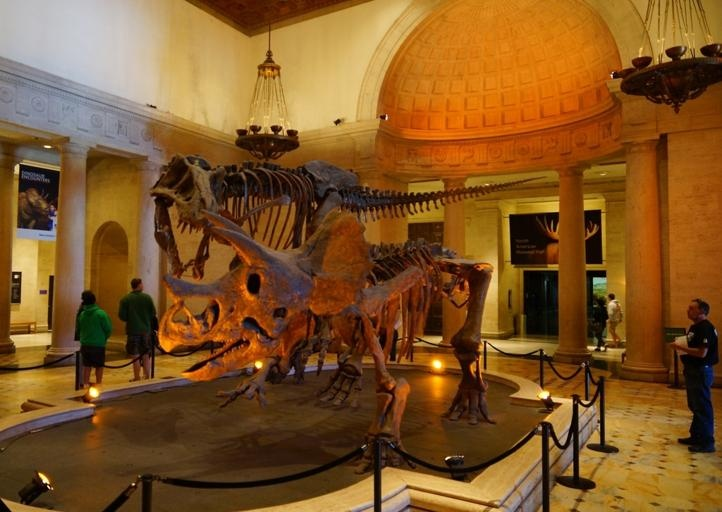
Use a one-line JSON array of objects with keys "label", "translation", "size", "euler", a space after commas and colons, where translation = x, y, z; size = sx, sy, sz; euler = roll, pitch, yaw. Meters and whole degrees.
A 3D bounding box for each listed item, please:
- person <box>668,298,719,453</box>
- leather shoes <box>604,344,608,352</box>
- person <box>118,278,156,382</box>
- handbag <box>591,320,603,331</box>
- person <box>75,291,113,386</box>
[{"label": "person", "translation": [4.379, 1.552, 6.912], "size": [0.545, 1.936, 0.456], "euler": [5, 5, 31]}, {"label": "leather shoes", "translation": [6.874, 2.607, 14.830], "size": [0.148, 0.184, 0.480], "euler": [-4, -10, 19]}, {"label": "person", "translation": [-3.827, 1.329, 9.054], "size": [0.564, 1.897, 1.064], "euler": [0, 5, -22]}, {"label": "handbag", "translation": [7.645, 2.279, 17.126], "size": [0.332, 0.354, 0.314], "euler": [13, 8, 8]}, {"label": "person", "translation": [-4.258, 1.379, 8.382], "size": [0.478, 1.648, 1.133], "euler": [0, 5, -28]}]
